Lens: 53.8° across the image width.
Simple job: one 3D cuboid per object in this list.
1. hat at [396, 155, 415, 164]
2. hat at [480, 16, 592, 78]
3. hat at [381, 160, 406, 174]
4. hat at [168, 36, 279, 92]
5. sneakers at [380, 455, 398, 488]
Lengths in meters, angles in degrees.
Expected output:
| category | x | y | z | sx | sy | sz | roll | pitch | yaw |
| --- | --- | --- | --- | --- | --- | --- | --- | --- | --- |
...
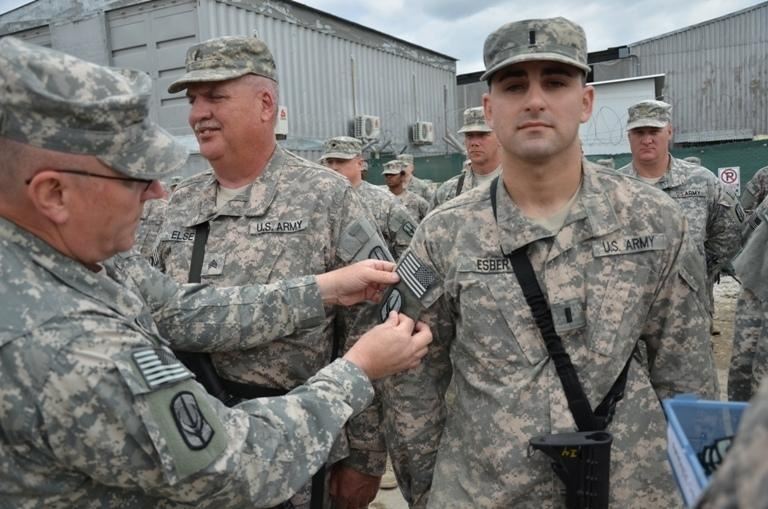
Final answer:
| category | x | y | z | sx | sy | sz | roll | pitch | yaw |
| --- | --- | --- | --- | --- | --- | --- | --- | --- | --- |
| hat | 0.379 | -1.680 | 13.236 | 0.255 | 0.119 | 0.393 | 0 | 6 | 12 |
| hat | 0.766 | -1.081 | 3.965 | 0.535 | 0.290 | 0.594 | -2 | 4 | 20 |
| hat | 0.190 | -1.355 | 11.708 | 0.283 | 0.139 | 0.215 | -3 | 3 | -31 |
| hat | -1.012 | -1.231 | 4.793 | 0.604 | 0.241 | 0.839 | 6 | 22 | 37 |
| sneakers | 0.035 | 1.778 | 6.098 | 0.157 | 0.202 | 0.470 | -1 | -11 | 4 |
